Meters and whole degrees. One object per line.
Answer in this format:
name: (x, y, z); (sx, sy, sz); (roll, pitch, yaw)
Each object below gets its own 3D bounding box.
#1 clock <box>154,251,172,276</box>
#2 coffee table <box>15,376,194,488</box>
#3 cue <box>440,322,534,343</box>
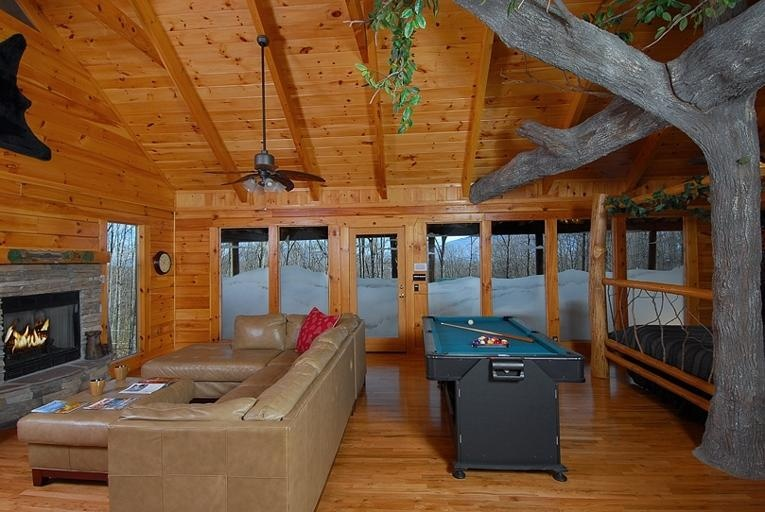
clock: (-3.541, 0.120, 8.683); (0.103, 0.296, 0.373); (2, 2, 19)
coffee table: (-2.822, 1.737, 5.561); (1.331, 0.631, 1.695); (-1, -1, -1)
cue: (1.189, 0.900, 6.236); (1.040, 0.039, 0.102); (4, -16, 41)
